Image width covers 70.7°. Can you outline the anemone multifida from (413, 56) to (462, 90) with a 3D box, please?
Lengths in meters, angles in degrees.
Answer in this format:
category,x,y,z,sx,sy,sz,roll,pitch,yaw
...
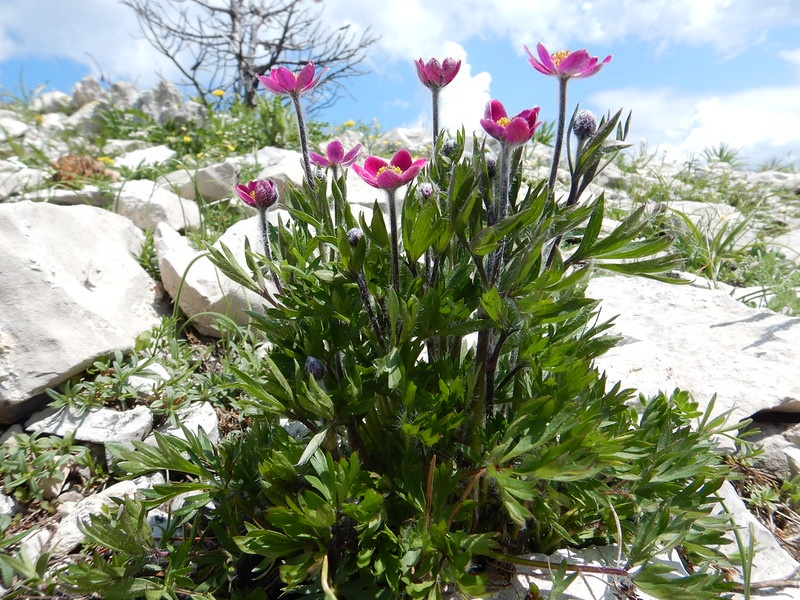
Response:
category,x,y,z,sx,sy,sz,roll,pitch,yaw
anemone multifida,0.177,-1.046,2.597,0.196,0.137,0.145,0,30,2

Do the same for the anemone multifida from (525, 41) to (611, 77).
category,x,y,z,sx,sy,sz,roll,pitch,yaw
anemone multifida,0.671,-0.993,2.346,0.293,0.134,0.263,11,32,21

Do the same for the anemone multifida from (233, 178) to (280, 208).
category,x,y,z,sx,sy,sz,roll,pitch,yaw
anemone multifida,-0.647,-0.483,2.589,0.159,0.184,0.210,-4,30,-4

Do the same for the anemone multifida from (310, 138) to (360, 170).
category,x,y,z,sx,sy,sz,roll,pitch,yaw
anemone multifida,-0.309,-0.697,2.720,0.238,0.176,0.310,-4,30,-5

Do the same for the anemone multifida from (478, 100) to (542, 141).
category,x,y,z,sx,sy,sz,roll,pitch,yaw
anemone multifida,0.412,-0.669,2.144,0.211,0.176,0.317,4,30,10

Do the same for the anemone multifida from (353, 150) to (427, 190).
category,x,y,z,sx,sy,sz,roll,pitch,yaw
anemone multifida,-0.051,-0.526,2.260,0.211,0.125,0.207,-17,24,-21
